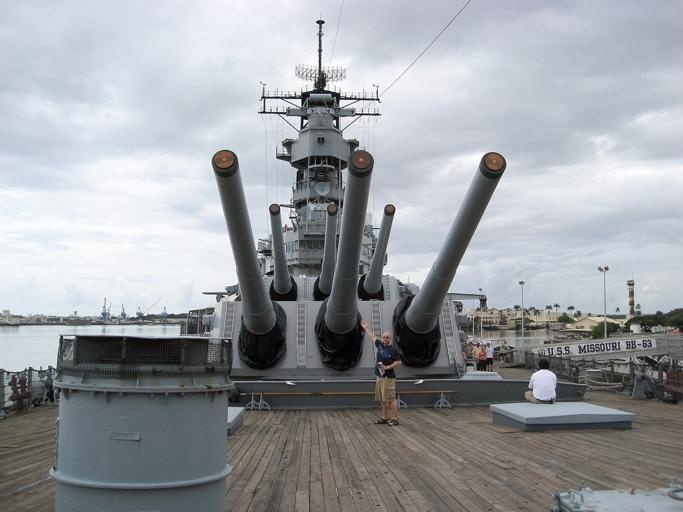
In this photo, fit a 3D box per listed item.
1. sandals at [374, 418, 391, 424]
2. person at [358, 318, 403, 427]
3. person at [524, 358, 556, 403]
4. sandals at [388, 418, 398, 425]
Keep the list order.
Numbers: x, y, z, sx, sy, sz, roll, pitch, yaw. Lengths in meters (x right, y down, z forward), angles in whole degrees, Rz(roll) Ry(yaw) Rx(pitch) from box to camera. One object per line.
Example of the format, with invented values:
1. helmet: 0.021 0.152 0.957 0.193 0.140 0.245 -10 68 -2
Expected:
1. sandals: 0.662 2.654 9.266 0.259 0.084 0.106 3 -7 -8
2. person: 0.678 1.931 9.248 0.508 1.500 0.719 -1 -8 4
3. person: 3.359 2.112 9.753 0.512 0.735 0.489 -1 -5 30
4. sandals: 0.834 2.635 9.224 0.168 0.103 0.257 -1 -9 6
